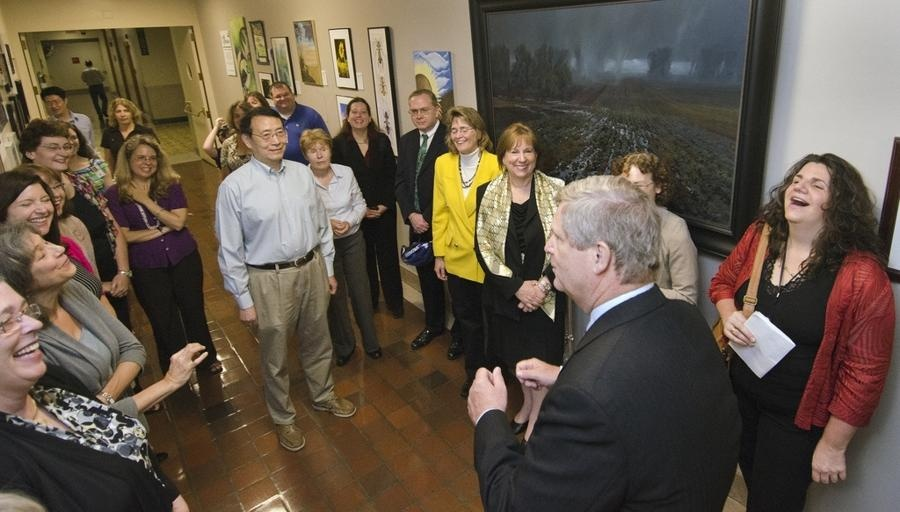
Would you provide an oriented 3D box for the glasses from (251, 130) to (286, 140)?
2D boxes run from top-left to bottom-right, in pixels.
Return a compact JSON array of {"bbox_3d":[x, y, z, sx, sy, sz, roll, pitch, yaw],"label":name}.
[{"bbox_3d":[-1.462,-0.968,4.227,0.275,0.092,0.117,-13,25,-28],"label":"glasses"}]

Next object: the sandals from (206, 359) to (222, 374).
[{"bbox_3d":[-2.404,1.133,5.353,0.142,0.103,0.133,-18,-17,10],"label":"sandals"}]

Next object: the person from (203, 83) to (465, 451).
[{"bbox_3d":[-1.390,0.202,4.397,0.927,2.706,0.888,-13,25,-26],"label":"person"}]

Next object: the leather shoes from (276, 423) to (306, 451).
[{"bbox_3d":[-1.382,1.540,4.509,0.135,0.112,0.307,-14,24,-39],"label":"leather shoes"}]

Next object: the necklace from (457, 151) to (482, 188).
[{"bbox_3d":[0.167,-0.755,4.581,0.187,0.312,0.081,4,1,29],"label":"necklace"}]

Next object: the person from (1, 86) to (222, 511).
[{"bbox_3d":[-2.570,0.193,3.691,0.791,1.503,2.331,-20,29,-37],"label":"person"}]

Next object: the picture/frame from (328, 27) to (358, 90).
[{"bbox_3d":[-1.328,-2.463,6.501,0.031,0.836,0.708,-22,29,-30],"label":"picture/frame"}]

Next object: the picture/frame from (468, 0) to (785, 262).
[{"bbox_3d":[1.298,-0.863,3.652,0.101,1.459,2.050,-24,29,-34],"label":"picture/frame"}]

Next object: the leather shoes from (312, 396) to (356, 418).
[{"bbox_3d":[-1.035,1.366,4.733,0.374,0.144,0.169,2,24,6],"label":"leather shoes"}]
